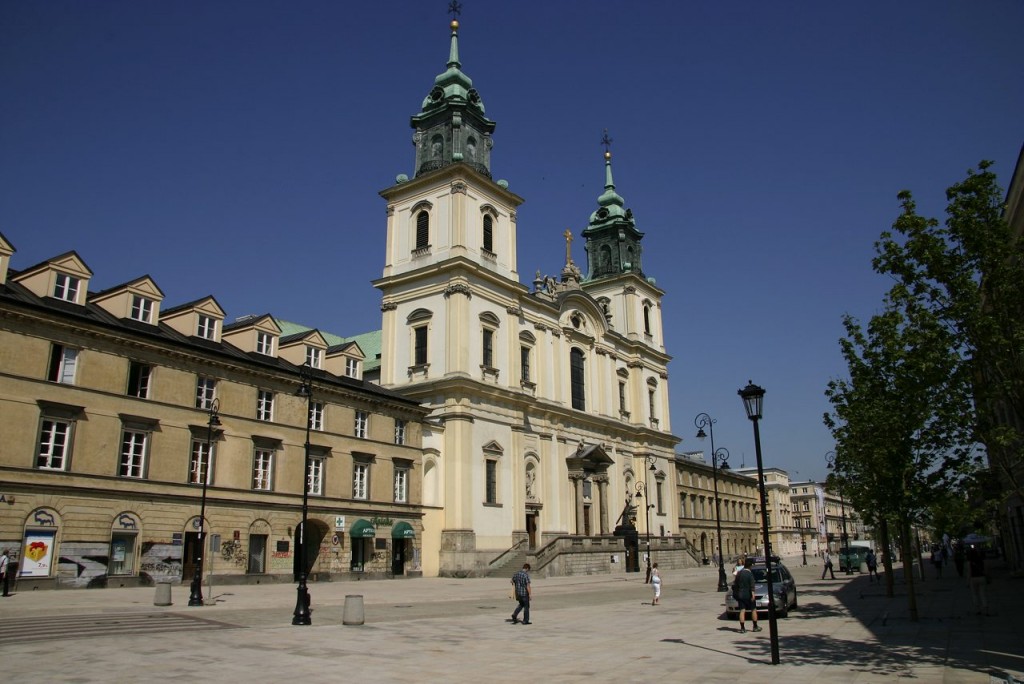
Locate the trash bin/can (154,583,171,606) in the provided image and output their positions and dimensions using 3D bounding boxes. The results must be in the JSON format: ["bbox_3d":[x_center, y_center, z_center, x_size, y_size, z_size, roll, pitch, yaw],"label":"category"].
[{"bbox_3d":[-14.417,10.397,33.635,0.631,0.903,0.654,6,-22,-19],"label":"trash bin/can"}]

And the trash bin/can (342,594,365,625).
[{"bbox_3d":[-5.879,9.937,30.233,0.734,1.083,0.593,3,-22,-12],"label":"trash bin/can"}]

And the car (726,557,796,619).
[{"bbox_3d":[10.596,10.339,33.844,2.246,1.532,4.850,-8,-25,22],"label":"car"}]
